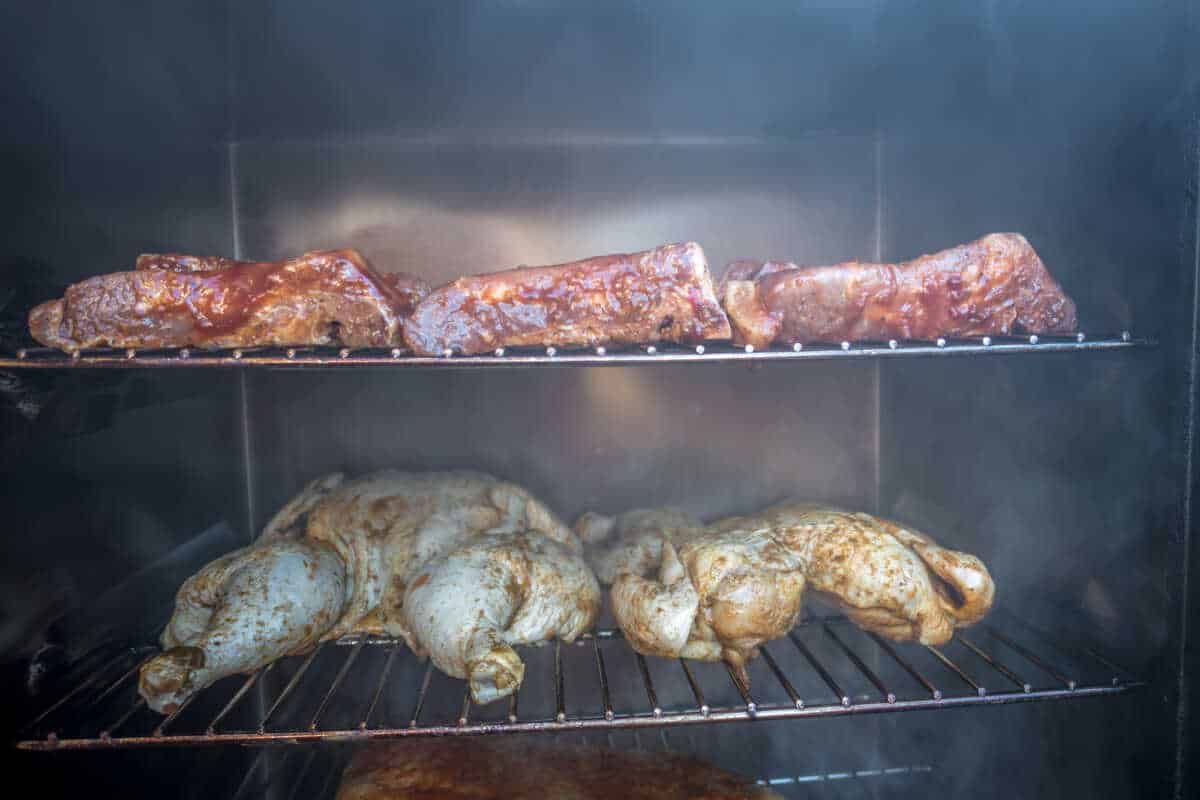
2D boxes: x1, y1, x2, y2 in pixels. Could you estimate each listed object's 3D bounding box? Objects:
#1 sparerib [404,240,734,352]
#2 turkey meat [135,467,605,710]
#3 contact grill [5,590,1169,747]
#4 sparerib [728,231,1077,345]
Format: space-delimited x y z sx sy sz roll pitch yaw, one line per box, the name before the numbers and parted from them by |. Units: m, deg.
sparerib | -0.112 -0.300 3.290 1.067 0.295 0.360 -3 16 -13
turkey meat | -0.684 0.576 3.347 1.290 0.331 1.306 -2 24 -4
contact grill | -0.075 0.856 3.260 1.501 0.272 1.541 2 14 -10
sparerib | 0.953 -0.341 3.487 1.101 0.385 0.674 -2 3 16
